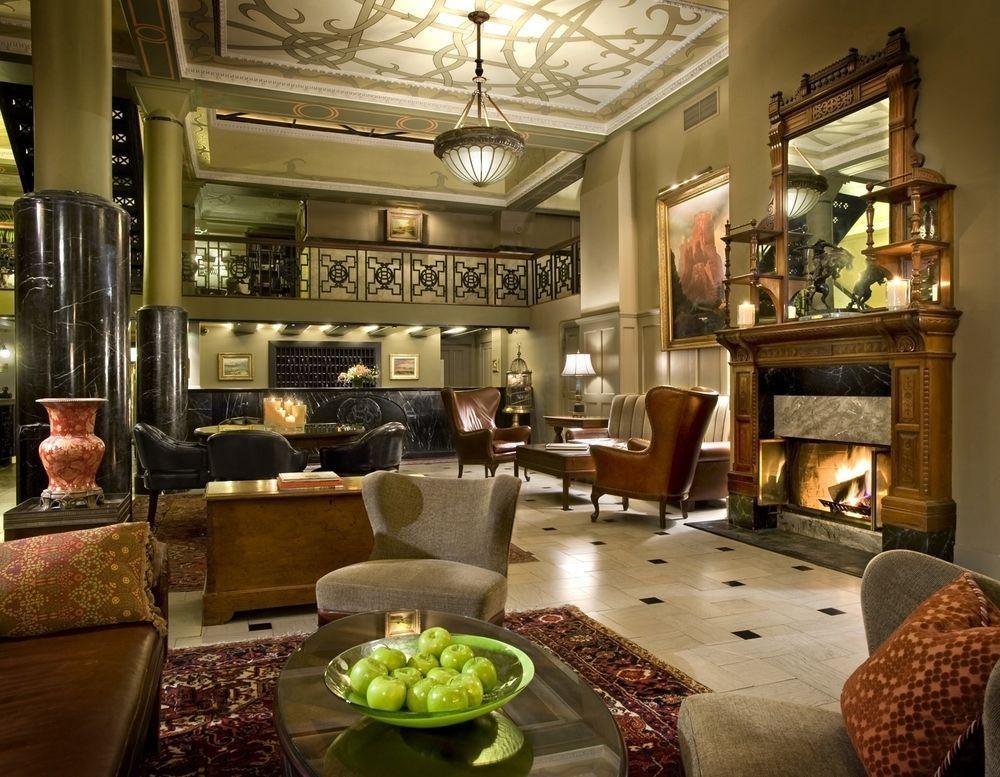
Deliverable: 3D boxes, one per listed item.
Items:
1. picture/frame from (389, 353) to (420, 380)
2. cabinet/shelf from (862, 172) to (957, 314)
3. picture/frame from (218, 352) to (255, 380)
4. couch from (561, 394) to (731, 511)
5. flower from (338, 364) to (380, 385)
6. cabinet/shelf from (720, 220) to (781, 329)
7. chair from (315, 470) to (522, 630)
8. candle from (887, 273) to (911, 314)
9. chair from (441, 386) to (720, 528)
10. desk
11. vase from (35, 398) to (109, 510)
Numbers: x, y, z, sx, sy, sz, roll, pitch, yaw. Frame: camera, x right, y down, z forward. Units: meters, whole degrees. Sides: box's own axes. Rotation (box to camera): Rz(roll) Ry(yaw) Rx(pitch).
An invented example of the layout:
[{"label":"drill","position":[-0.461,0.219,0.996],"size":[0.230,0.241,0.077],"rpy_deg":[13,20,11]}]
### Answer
[{"label":"picture/frame","position":[-2.209,-0.501,15.543],"size":[0.654,0.579,0.064],"rpy_deg":[1,-3,-9]},{"label":"cabinet/shelf","position":[2.850,-1.051,4.914],"size":[0.548,0.995,0.591],"rpy_deg":[-2,3,-32]},{"label":"picture/frame","position":[-5.657,-0.486,14.582],"size":[0.644,0.546,0.062],"rpy_deg":[0,-2,-27]},{"label":"couch","position":[1.730,0.641,7.741],"size":[1.114,1.309,1.956],"rpy_deg":[9,-4,-42]},{"label":"flower","position":[-2.571,-0.257,12.613],"size":[0.551,0.349,0.527],"rpy_deg":[1,2,22]},{"label":"cabinet/shelf","position":[2.404,-1.058,6.361],"size":[0.732,0.862,0.676],"rpy_deg":[-1,5,4]},{"label":"chair","position":[-0.353,0.794,3.317],"size":[0.806,0.742,0.715],"rpy_deg":[0,-2,16]},{"label":"candle","position":[2.785,-0.660,4.783],"size":[0.136,0.254,0.349],"rpy_deg":[1,3,30]},{"label":"chair","position":[1.129,0.606,6.884],"size":[1.939,0.827,1.244],"rpy_deg":[4,2,43]},{"label":"desk","position":[-1.607,0.939,4.675],"size":[0.741,0.793,1.297],"rpy_deg":[0,6,-18]},{"label":"vase","position":[-2.203,0.330,3.562],"size":[0.341,0.522,0.343],"rpy_deg":[0,0,42]}]
